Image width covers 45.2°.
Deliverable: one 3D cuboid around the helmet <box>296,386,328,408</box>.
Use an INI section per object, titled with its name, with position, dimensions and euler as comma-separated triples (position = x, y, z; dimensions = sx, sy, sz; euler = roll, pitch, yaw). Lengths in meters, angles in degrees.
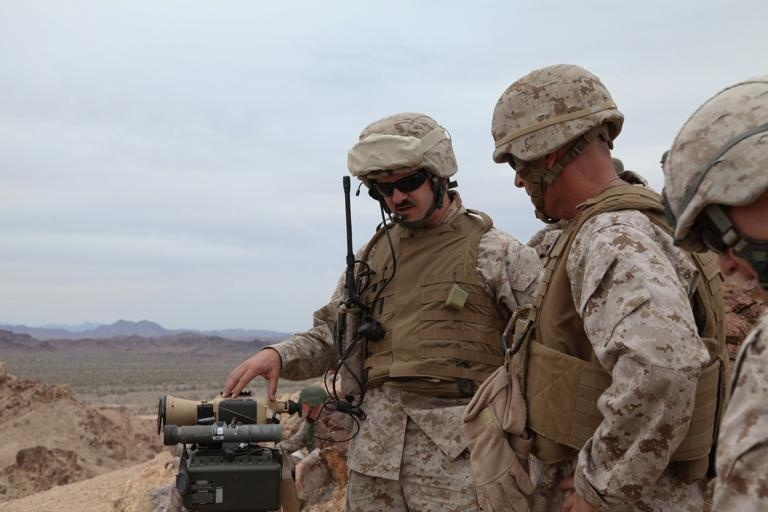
[helmet]
position = -0.620, 1.203, 7.930
dimensions = 0.203, 0.178, 0.284
euler = -1, -2, 2
